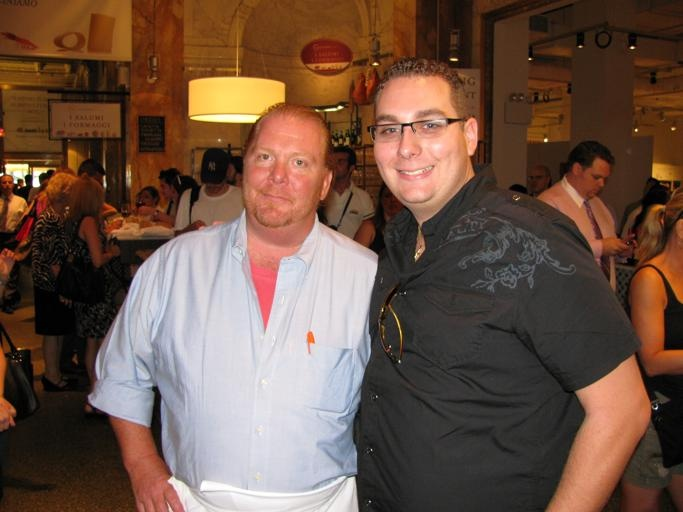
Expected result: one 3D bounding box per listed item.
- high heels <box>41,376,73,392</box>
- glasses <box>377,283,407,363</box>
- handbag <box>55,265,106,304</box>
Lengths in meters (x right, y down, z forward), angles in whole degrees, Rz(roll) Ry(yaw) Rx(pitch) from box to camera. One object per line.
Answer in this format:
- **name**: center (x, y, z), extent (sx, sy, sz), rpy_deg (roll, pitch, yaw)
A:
- **high heels**: center (-2.602, 1.180, 5.728), extent (0.313, 0.133, 0.127), rpy_deg (-1, 3, -33)
- **glasses**: center (0.163, 0.226, 2.040), extent (0.069, 0.237, 0.125), rpy_deg (-1, 9, -5)
- **handbag**: center (-2.164, 0.225, 5.184), extent (0.274, 0.293, 0.122), rpy_deg (5, 11, -11)
